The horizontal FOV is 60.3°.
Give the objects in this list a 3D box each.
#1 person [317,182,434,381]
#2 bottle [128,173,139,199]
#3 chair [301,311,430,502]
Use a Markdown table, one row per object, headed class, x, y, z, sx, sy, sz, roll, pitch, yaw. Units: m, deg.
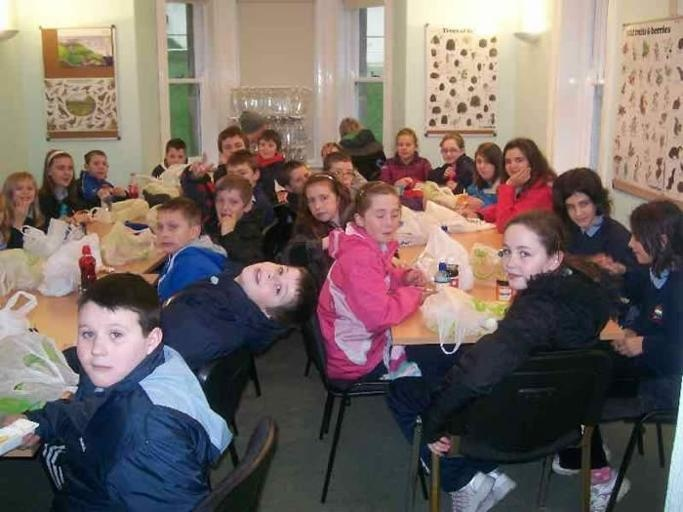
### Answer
| class | x | y | z | sx | sy | sz | roll | pitch | yaw |
| --- | --- | --- | --- | --- | --- | --- | --- | --- | --- |
| person | 0.127 | 0.099 | 2.436 | 0.463 | 0.766 | 0.698 | 2 | 12 | 7 |
| bottle | -1.651 | -0.560 | 4.655 | 0.083 | 0.175 | 0.306 | -4 | 12 | -19 |
| chair | 0.108 | 0.641 | 2.465 | 0.544 | 0.842 | 0.482 | -5 | 25 | -1 |
